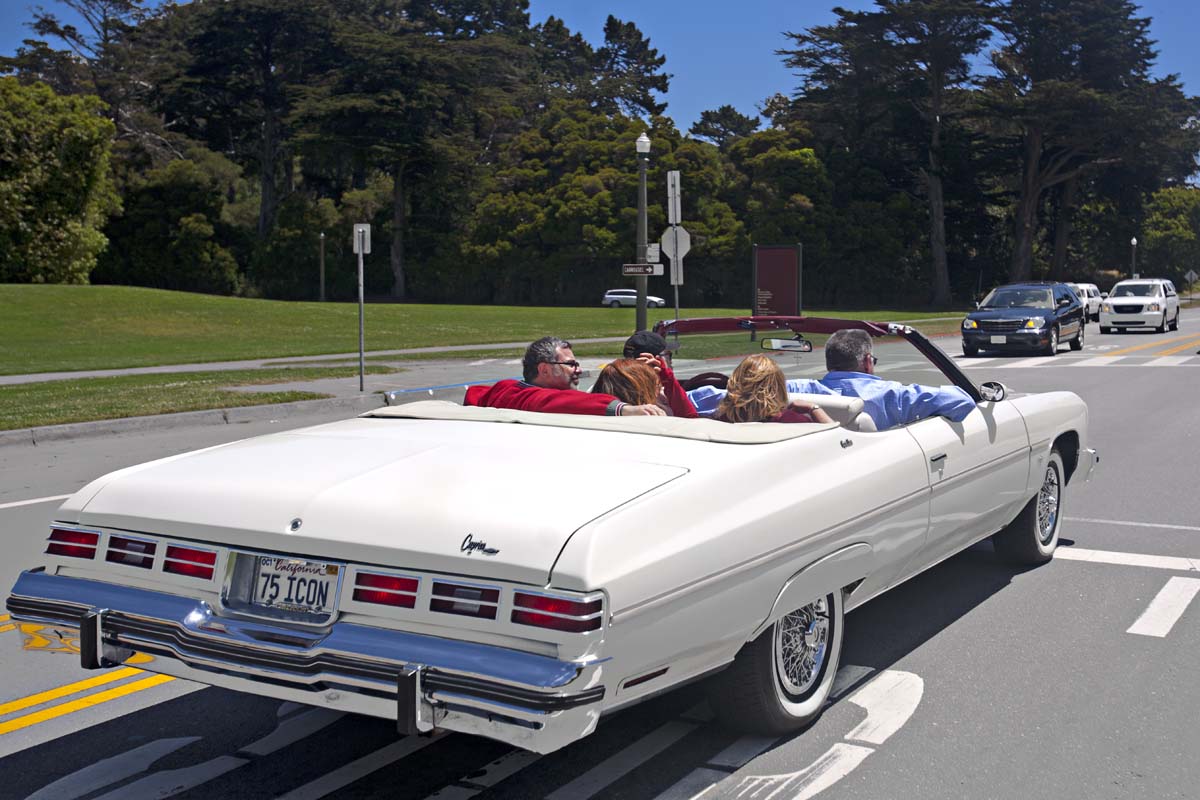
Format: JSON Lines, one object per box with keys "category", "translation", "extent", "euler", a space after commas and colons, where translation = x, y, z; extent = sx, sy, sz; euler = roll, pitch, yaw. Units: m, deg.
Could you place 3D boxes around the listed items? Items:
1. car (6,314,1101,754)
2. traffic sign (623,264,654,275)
{"category": "car", "translation": [0.002, 0.716, 6.234], "extent": [5.540, 1.947, 2.183], "euler": [-7, 12, -31]}
{"category": "traffic sign", "translation": [0.810, -2.772, 24.848], "extent": [0.619, 0.207, 0.655], "euler": [-2, 10, -5]}
